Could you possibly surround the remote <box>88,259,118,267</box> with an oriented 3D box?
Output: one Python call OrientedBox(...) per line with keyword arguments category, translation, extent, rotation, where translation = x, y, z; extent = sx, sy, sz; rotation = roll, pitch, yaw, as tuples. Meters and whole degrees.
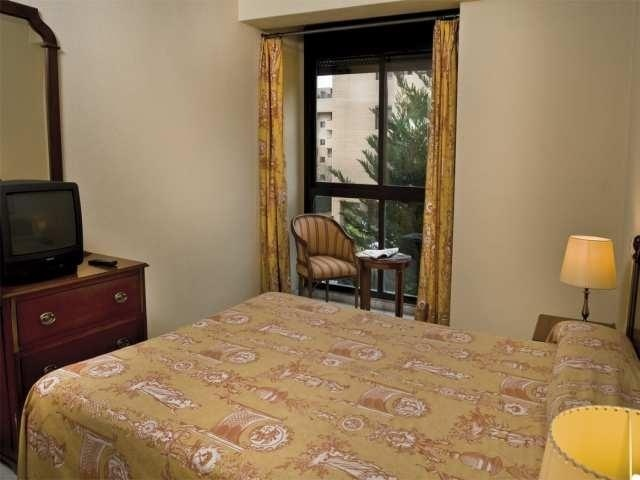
OrientedBox(category="remote", translation=(-1.564, 0.165, 3.442), extent=(0.166, 0.037, 0.089), rotation=(2, 4, 2))
